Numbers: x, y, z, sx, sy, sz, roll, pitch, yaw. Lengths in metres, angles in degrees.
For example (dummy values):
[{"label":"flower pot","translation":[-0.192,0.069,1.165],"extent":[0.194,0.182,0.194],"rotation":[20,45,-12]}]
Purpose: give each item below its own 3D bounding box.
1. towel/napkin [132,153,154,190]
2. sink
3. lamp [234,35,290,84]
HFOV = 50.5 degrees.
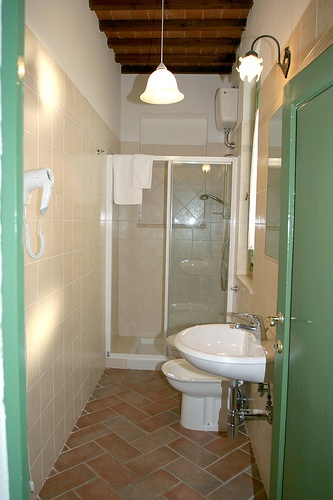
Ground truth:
[{"label":"towel/napkin","translation":[-0.201,-0.649,2.943],"extent":[0.162,0.281,0.106],"rotation":[1,2,-2]},{"label":"sink","translation":[0.212,0.441,1.484],"extent":[0.365,0.164,0.520],"rotation":[2,3,8]},{"label":"lamp","translation":[0.423,-0.828,1.538],"extent":[0.201,0.201,0.110],"rotation":[4,2,30]}]
